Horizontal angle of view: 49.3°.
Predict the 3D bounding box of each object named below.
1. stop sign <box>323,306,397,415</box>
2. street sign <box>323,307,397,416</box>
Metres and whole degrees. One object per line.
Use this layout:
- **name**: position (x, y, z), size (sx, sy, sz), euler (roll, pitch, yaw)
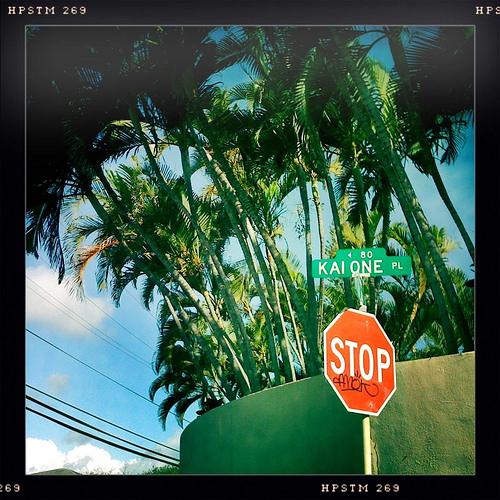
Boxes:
- **stop sign**: position (0.591, 0.618, 2.939), size (0.494, 0.728, 0.029), euler (-1, -11, -26)
- **street sign**: position (0.591, 0.621, 2.937), size (0.479, 0.713, 0.027), euler (-2, -10, -26)
